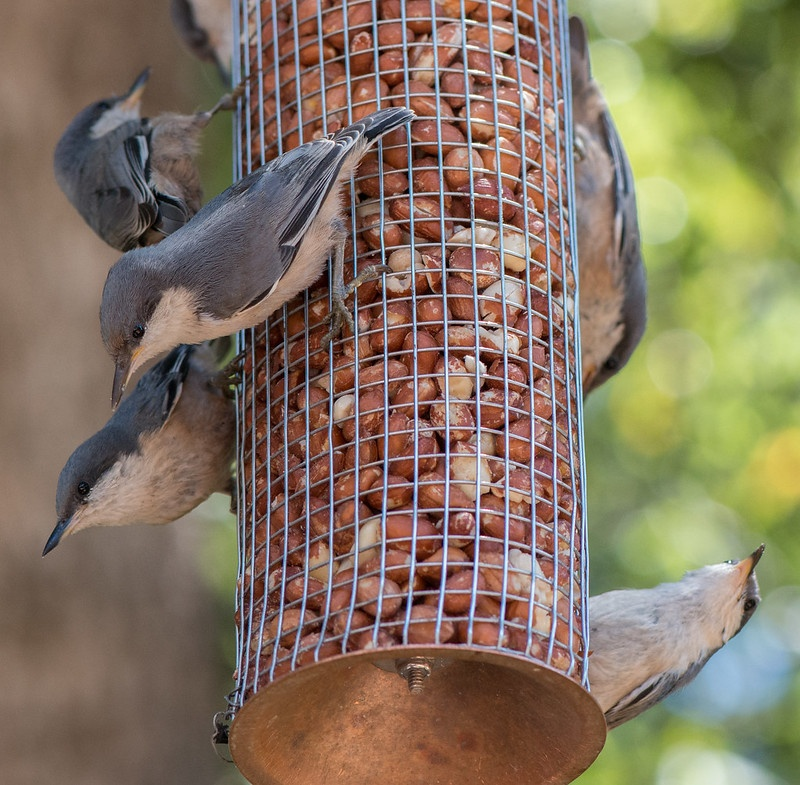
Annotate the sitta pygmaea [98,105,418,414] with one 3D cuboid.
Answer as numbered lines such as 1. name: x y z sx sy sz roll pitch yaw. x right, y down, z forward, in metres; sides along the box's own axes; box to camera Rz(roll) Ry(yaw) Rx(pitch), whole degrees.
1. sitta pygmaea: -0.364 -0.295 3.222 0.393 0.867 0.368 44 24 21
